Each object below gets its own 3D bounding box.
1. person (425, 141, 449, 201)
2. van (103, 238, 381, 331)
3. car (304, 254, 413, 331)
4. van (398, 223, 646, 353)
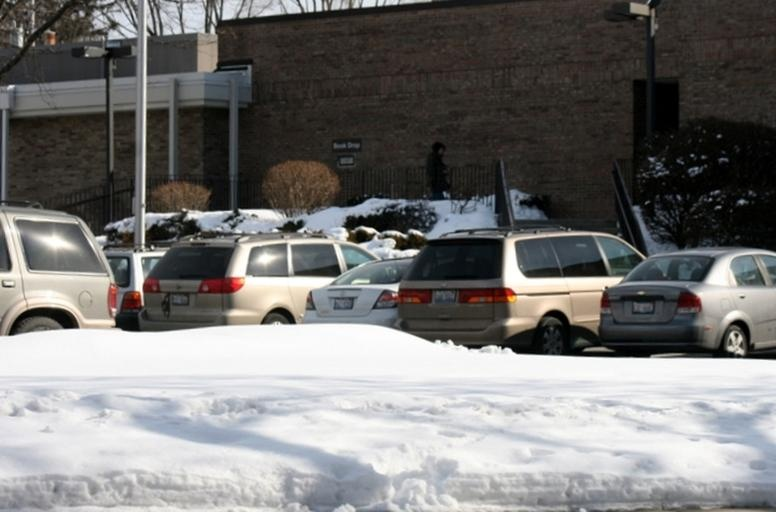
[{"bbox_3d":[1.553,-2.591,39.846,0.731,1.578,1.285,2,15,2],"label":"person"},{"bbox_3d":[-2.377,0.507,24.618,3.768,1.290,1.932,-3,1,-42],"label":"van"},{"bbox_3d":[-0.485,0.773,23.800,1.736,0.880,1.925,13,18,37],"label":"car"},{"bbox_3d":[2.695,0.532,23.376,2.039,1.414,3.798,0,4,44],"label":"van"}]
